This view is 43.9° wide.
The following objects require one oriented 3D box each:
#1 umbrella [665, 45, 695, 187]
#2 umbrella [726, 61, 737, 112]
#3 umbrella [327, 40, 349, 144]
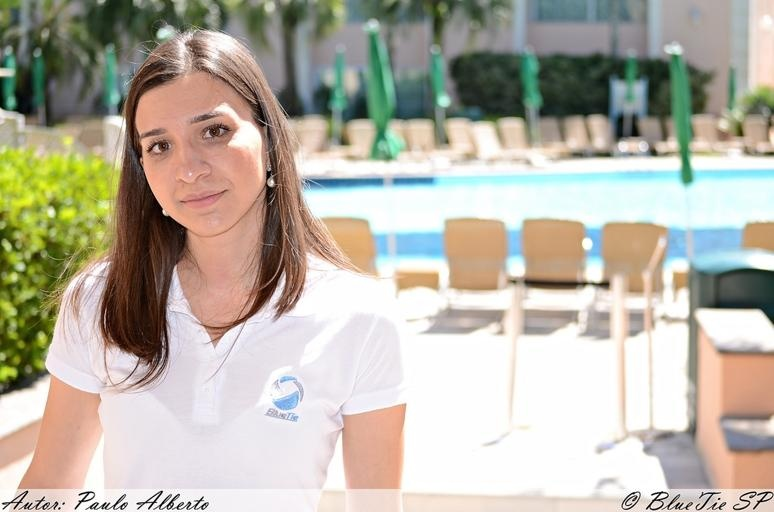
[{"bbox_3d":[1.524,-0.730,4.974,0.101,0.727,0.242,-5,14,-5],"label":"umbrella"},{"bbox_3d":[1.721,-0.836,4.777,0.038,0.214,0.039,1,14,18],"label":"umbrella"},{"bbox_3d":[-0.916,-2.769,16.598,0.363,2.307,0.374,-4,49,-12],"label":"umbrella"}]
